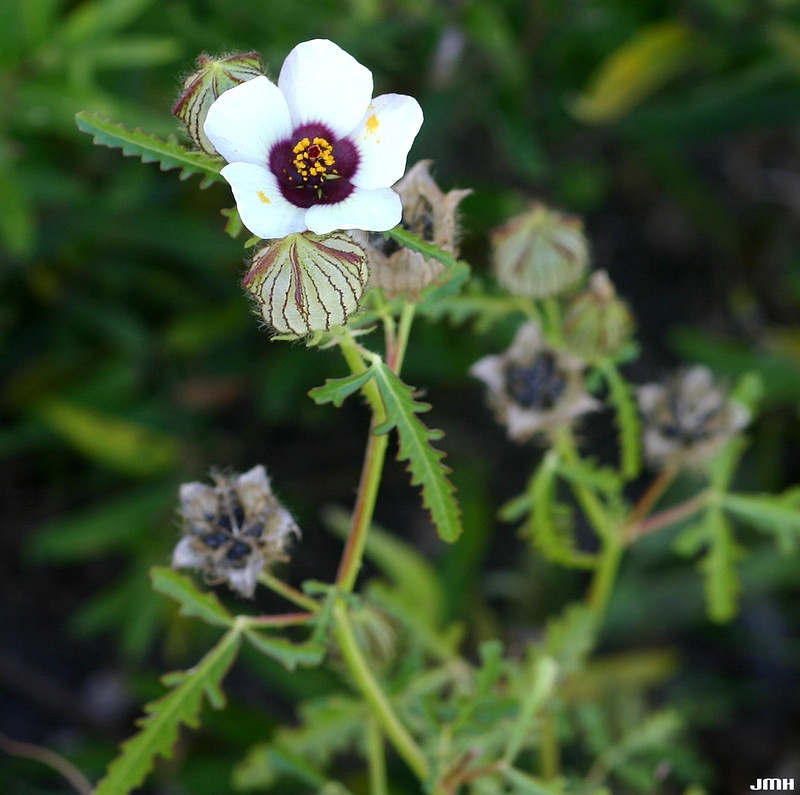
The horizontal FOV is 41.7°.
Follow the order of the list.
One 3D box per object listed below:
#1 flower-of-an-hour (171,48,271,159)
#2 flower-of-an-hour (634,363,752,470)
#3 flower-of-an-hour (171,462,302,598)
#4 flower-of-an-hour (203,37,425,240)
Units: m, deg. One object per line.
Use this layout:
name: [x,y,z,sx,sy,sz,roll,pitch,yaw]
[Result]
flower-of-an-hour: [-0.331,-0.556,1.968,0.192,0.194,0.125,-17,-10,-1]
flower-of-an-hour: [0.681,0.071,2.493,0.375,0.344,0.107,2,-51,11]
flower-of-an-hour: [-0.381,0.290,2.228,0.314,0.084,0.250,11,3,-1]
flower-of-an-hour: [-0.169,-0.457,2.058,0.475,0.163,0.412,-13,-22,25]
